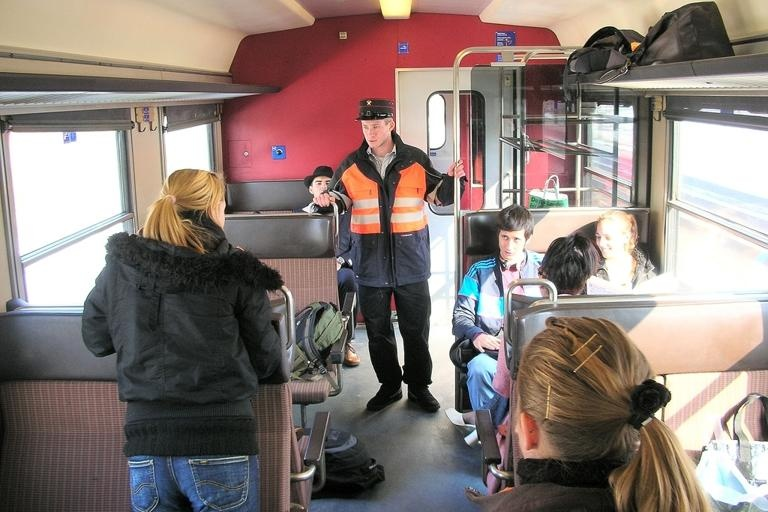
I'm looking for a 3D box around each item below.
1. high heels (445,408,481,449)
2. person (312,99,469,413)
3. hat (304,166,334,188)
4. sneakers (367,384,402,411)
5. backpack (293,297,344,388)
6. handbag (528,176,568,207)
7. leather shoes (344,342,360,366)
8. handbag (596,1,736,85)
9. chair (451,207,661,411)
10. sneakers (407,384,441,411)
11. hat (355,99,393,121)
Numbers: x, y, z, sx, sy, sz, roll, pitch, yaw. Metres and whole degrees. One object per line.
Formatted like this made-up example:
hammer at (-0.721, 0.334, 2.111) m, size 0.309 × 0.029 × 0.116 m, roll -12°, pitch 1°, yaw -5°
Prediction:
high heels at (0.677, 1.372, 4.853) m, size 0.205 × 0.136 × 0.519 m, roll -4°, pitch 15°, yaw -10°
person at (0.056, 0.043, 5.341) m, size 1.422 × 2.760 × 0.886 m, roll -4°, pitch 4°, yaw -7°
hat at (-0.734, -0.923, 6.947) m, size 0.490 × 0.188 × 0.551 m, roll -2°, pitch -4°, yaw 0°
sneakers at (0.011, 1.328, 5.623) m, size 0.409 × 0.174 × 0.148 m, roll -9°, pitch 4°, yaw -43°
backpack at (-0.500, 0.737, 4.764) m, size 0.404 × 0.624 × 0.456 m, roll -1°, pitch 14°, yaw 0°
handbag at (1.548, -0.605, 5.523) m, size 0.272 × 0.224 × 0.134 m, roll 2°, pitch 23°, yaw 4°
leather shoes at (-0.348, 1.092, 6.471) m, size 0.148 × 0.157 × 0.399 m, roll -1°, pitch -1°, yaw -12°
handbag at (1.842, -1.384, 3.868) m, size 0.719 × 0.279 × 0.423 m, roll -4°, pitch 15°, yaw 40°
chair at (1.575, 0.375, 4.865) m, size 1.525 × 1.880 × 1.611 m, roll 1°, pitch 1°, yaw 2°
sneakers at (0.395, 1.315, 5.538) m, size 0.151 × 0.168 × 0.351 m, roll -4°, pitch 7°, yaw -41°
hat at (-0.059, -1.269, 5.159) m, size 0.283 × 0.177 × 0.224 m, roll -1°, pitch 14°, yaw -2°
